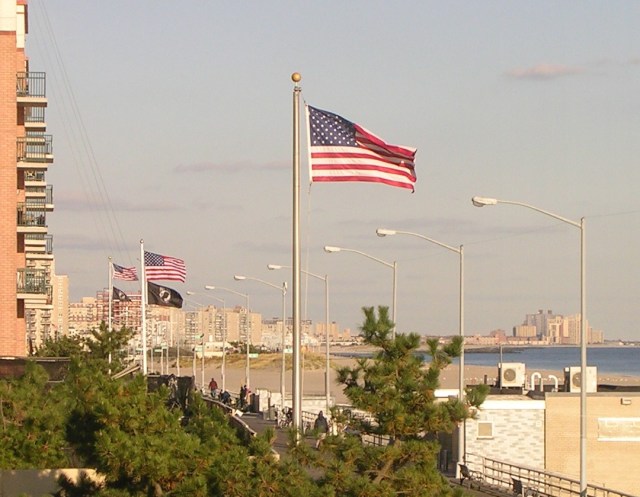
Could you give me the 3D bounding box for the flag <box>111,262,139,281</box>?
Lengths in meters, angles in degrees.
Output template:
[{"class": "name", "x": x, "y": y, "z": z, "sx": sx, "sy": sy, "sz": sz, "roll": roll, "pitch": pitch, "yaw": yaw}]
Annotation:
[{"class": "flag", "x": -10.751, "y": 1.319, "z": 97.915, "sx": 1.315, "sy": 0.994, "sz": 0.132, "roll": 2, "pitch": -3, "yaw": 11}]
